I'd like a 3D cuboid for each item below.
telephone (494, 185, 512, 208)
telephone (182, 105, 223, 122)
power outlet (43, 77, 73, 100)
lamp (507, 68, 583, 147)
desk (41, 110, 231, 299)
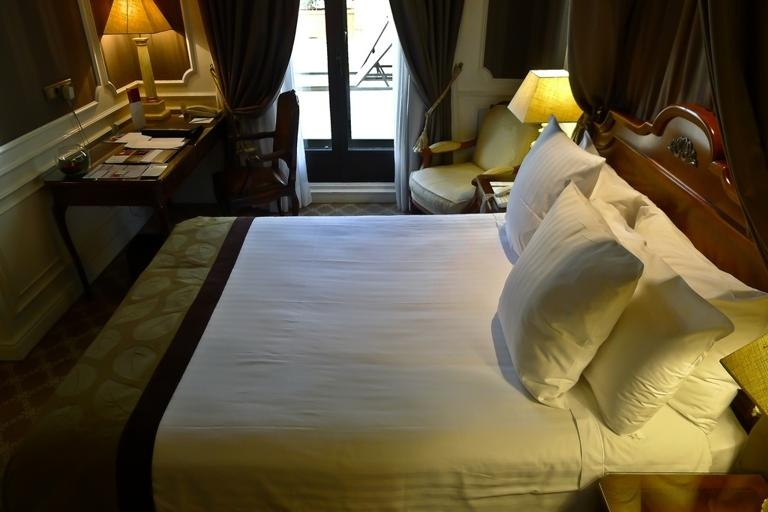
[{"bbox_3d":[0.730,-0.364,3.208,0.117,0.061,0.171,-15,34,13],"label":"telephone"},{"bbox_3d":[-1.443,-1.088,4.078,0.220,0.077,0.174,-1,38,5],"label":"telephone"},{"bbox_3d":[-2.082,-1.060,3.312,0.056,0.132,0.250,-11,16,18],"label":"power outlet"},{"bbox_3d":[1.003,-0.967,3.378,0.451,0.350,0.422,-6,31,-8],"label":"lamp"},{"bbox_3d":[-1.703,-0.432,3.845,0.661,0.690,1.429,-2,24,-3],"label":"desk"}]
